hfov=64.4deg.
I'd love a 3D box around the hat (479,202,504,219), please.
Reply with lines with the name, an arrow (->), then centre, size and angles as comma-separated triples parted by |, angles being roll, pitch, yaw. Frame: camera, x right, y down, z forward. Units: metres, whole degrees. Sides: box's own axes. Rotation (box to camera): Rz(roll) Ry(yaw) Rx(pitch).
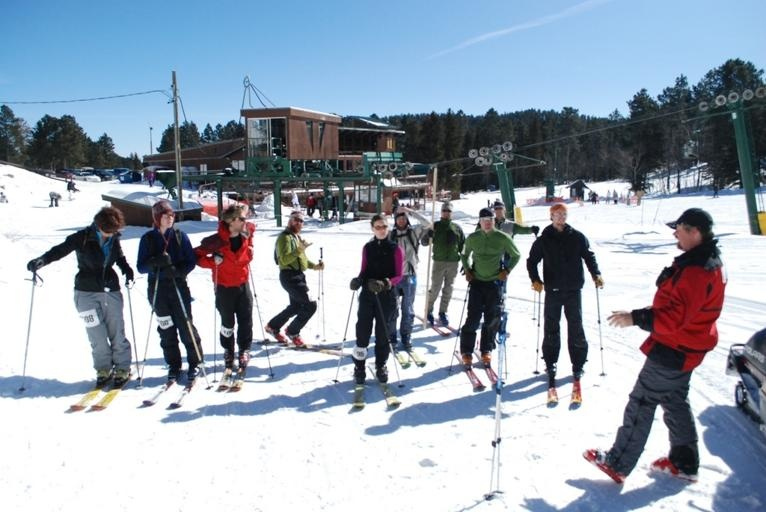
hat -> 2.391, -0.980, 13.185 | 0.449, 0.285, 0.729 | 1, 4, 4

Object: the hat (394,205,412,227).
hat -> 0.375, -0.784, 12.450 | 0.264, 0.395, 0.383 | -1, -9, -1

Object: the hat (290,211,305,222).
hat -> -1.676, -0.771, 11.788 | 0.219, 0.183, 0.396 | -1, 7, 8

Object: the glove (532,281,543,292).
glove -> 2.737, 0.539, 10.895 | 0.210, 0.169, 0.240 | 3, -7, -29

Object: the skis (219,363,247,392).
skis -> -2.656, 2.167, 10.804 | 0.245, 0.153, 0.535 | 3, 16, -7

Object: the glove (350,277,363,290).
glove -> -0.490, 0.482, 10.613 | 0.155, 0.194, 0.209 | 2, 1, -1

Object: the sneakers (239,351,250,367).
sneakers -> -2.519, 1.864, 11.027 | 0.164, 0.249, 0.238 | 3, -6, -15

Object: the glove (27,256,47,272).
glove -> -5.926, 0.130, 10.445 | 0.275, 0.284, 0.525 | -6, 8, -33

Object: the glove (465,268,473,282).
glove -> 1.631, 0.354, 11.595 | 0.156, 0.222, 0.224 | -12, 14, -6

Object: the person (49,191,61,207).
person -> -20.406, -3.534, 37.926 | 0.479, 0.875, 2.409 | -5, 8, -25

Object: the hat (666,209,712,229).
hat -> 4.453, -0.525, 8.892 | 0.462, 0.276, 0.328 | 17, 17, 36

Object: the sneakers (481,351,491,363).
sneakers -> 1.923, 1.911, 11.540 | 0.164, 0.176, 0.176 | 5, 16, 18

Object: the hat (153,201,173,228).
hat -> -3.836, -0.745, 10.621 | 0.293, 0.449, 0.360 | -5, 7, -25

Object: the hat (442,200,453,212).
hat -> 1.310, -1.026, 12.816 | 0.201, 0.204, 0.349 | -2, 7, 3

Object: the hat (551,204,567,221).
hat -> 3.078, -0.793, 10.831 | 0.260, 0.286, 0.272 | -1, 7, 12

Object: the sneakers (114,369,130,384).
sneakers -> -4.507, 2.079, 10.536 | 0.137, 0.306, 0.127 | 7, -21, -21

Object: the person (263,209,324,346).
person -> -1.746, 0.457, 12.024 | 0.835, 2.674, 1.055 | -6, 7, -36

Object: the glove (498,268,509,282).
glove -> 2.237, 0.352, 11.439 | 0.200, 0.224, 0.174 | -2, 6, 3

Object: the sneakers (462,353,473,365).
sneakers -> 1.564, 1.930, 11.437 | 0.133, 0.170, 0.179 | 1, -11, 0

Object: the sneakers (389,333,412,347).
sneakers -> 0.271, 1.672, 12.021 | 0.504, 0.242, 0.189 | 2, 5, 23

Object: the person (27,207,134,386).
person -> -4.922, 0.720, 10.457 | 1.189, 3.097, 0.688 | -4, 6, -23

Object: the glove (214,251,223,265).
glove -> -2.888, 0.005, 10.696 | 0.140, 0.275, 0.208 | -4, 12, -16

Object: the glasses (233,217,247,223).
glasses -> -2.521, -0.647, 10.823 | 0.128, 0.106, 0.243 | 1, 8, 25

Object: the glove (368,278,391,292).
glove -> -0.066, 0.507, 10.448 | 0.208, 0.139, 0.273 | 6, 8, -42

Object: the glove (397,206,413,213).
glove -> 0.438, -0.966, 12.678 | 0.208, 0.096, 0.303 | 4, 8, 16

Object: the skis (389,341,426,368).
skis -> 0.432, 1.876, 11.797 | 0.277, 0.091, 1.106 | -3, 9, -15
